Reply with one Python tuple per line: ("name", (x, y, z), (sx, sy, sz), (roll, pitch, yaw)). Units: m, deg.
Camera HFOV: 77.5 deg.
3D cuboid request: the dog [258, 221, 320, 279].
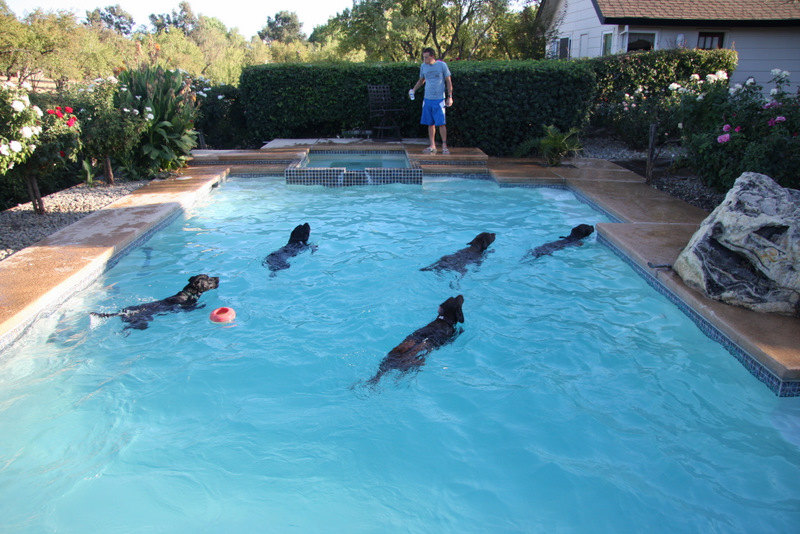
("dog", (-1.805, -0.308, 8.209), (0.506, 0.390, 1.044), (23, 29, 16))
